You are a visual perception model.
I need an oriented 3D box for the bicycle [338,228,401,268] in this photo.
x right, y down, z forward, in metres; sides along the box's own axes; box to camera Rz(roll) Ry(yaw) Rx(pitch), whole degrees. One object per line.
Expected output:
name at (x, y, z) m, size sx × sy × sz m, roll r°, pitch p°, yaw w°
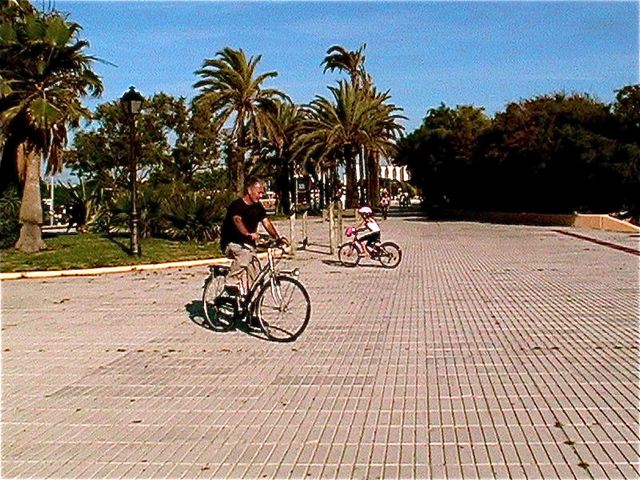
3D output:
bicycle at (1.385, 0.277, 15.682) m, size 1.649 × 1.142 × 0.884 m, roll -4°, pitch 5°, yaw 23°

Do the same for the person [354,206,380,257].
person at (1.279, -0.248, 15.477) m, size 0.619 × 1.298 × 1.640 m, roll 0°, pitch 4°, yaw 4°

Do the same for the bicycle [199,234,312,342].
bicycle at (-0.732, 0.840, 8.256) m, size 1.827 × 1.448 × 0.956 m, roll -1°, pitch -7°, yaw 36°

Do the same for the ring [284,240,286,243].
ring at (-0.458, 0.022, 7.477) m, size 0.023 × 0.026 × 0.024 m, roll 2°, pitch -7°, yaw 0°

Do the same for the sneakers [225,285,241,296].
sneakers at (-1.190, 0.697, 7.772) m, size 0.176 × 0.147 × 0.125 m, roll 3°, pitch 49°, yaw 10°
